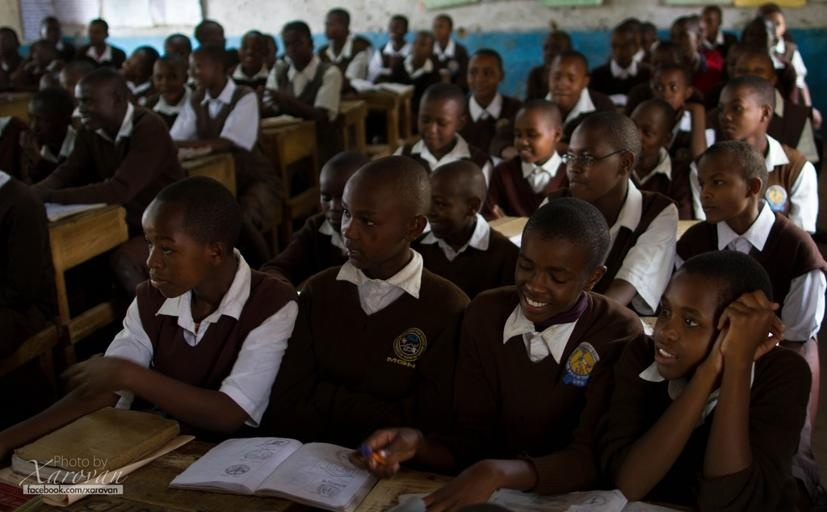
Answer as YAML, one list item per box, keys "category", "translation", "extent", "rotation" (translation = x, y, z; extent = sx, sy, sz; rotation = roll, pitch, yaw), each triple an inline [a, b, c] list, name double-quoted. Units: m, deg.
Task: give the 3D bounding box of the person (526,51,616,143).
- category: "person"
  translation: [0.967, -1.007, 4.346]
  extent: [0.737, 0.538, 0.393]
  rotation: [9, 20, 18]

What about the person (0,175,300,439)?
- category: "person"
  translation: [-0.680, 0.079, 2.230]
  extent: [0.653, 0.655, 0.878]
  rotation: [14, 17, 30]

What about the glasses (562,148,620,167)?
- category: "glasses"
  translation: [0.676, -0.375, 2.595]
  extent: [0.194, 0.058, 0.059]
  rotation: [3, 15, 16]

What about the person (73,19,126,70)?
- category: "person"
  translation: [-2.963, -2.046, 6.503]
  extent: [0.398, 0.505, 0.869]
  rotation: [-7, 15, -21]

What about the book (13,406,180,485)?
- category: "book"
  translation: [-0.812, 0.449, 1.780]
  extent: [0.206, 0.050, 0.226]
  rotation: [7, 15, 28]
